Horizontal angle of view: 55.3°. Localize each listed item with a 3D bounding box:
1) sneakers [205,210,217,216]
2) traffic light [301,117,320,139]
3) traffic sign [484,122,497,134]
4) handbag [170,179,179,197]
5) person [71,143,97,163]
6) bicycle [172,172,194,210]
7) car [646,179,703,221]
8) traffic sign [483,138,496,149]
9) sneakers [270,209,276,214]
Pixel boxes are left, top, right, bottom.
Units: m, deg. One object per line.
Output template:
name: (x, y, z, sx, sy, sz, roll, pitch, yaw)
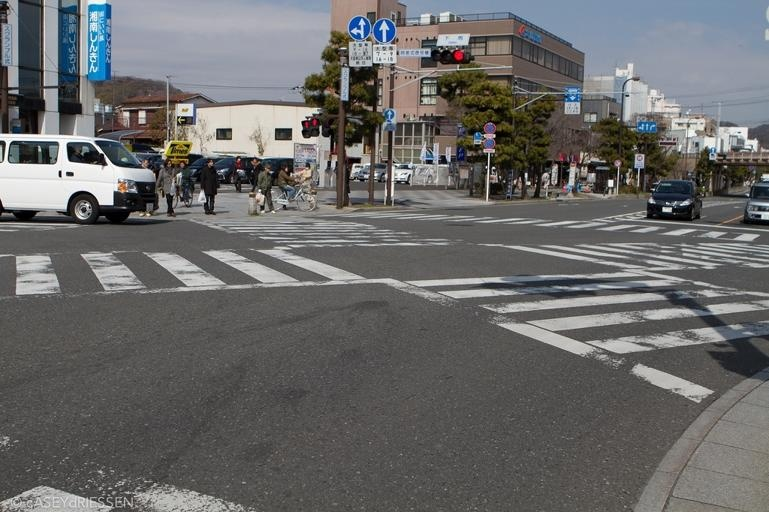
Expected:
sneakers: (-6.353, -1.569, 26.986, 0.397, 0.183, 0.121, -12, 14, -43)
traffic light: (-3.278, -5.784, 32.981, 0.763, 0.886, 1.533, -1, 11, -8)
traffic sign: (6.673, -8.146, 46.950, 0.561, 0.665, 0.934, 0, 10, -2)
handbag: (-8.223, -2.615, 28.910, 0.250, 0.804, 0.532, 0, -1, -5)
person: (-8.574, -2.915, 20.940, 0.813, 0.559, 0.251, 0, 9, -8)
bicycle: (-8.606, -2.741, 30.659, 0.748, 1.130, 1.740, 1, 0, 2)
car: (13.203, -2.526, 33.371, 1.531, 1.262, 2.779, 1, 2, 29)
traffic sign: (6.581, -7.095, 46.471, 0.569, 0.680, 0.754, 2, 10, 4)
sneakers: (-4.483, -1.755, 29.531, 0.116, 0.154, 0.357, -5, 1, -25)
